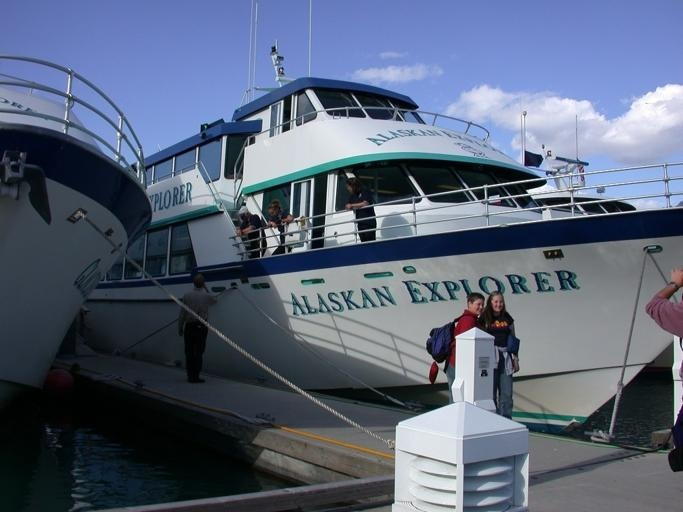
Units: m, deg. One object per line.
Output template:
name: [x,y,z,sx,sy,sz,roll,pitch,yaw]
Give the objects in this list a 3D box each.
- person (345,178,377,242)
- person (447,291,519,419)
person: [0.282,-0.731,9.522,0.436,1.015,0.736,0,1,3]
person: [1.730,1.188,7.433,0.694,1.532,1.443,1,1,33]
